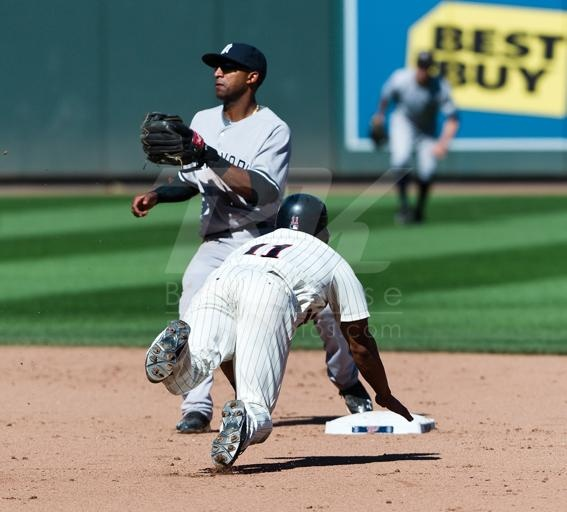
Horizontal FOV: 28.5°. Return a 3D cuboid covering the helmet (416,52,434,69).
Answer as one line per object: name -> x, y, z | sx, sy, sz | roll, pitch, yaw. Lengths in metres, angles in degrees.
helmet -> 1.122, -1.536, 8.667 | 0.107, 0.134, 0.142 | 0, 20, 10

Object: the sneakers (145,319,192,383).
sneakers -> -0.508, 0.421, 4.934 | 0.162, 0.285, 0.097 | 36, 8, 29

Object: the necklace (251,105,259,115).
necklace -> -0.145, -0.809, 6.148 | 0.014, 0.055, 0.055 | 32, -16, -16

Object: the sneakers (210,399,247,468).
sneakers -> -0.235, 0.793, 5.002 | 0.140, 0.300, 0.142 | 13, -3, 36

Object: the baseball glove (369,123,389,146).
baseball glove -> 0.780, -0.975, 8.930 | 0.121, 0.138, 0.141 | -5, 36, 7

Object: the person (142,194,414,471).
person -> -0.090, 0.405, 5.226 | 1.223, 1.026, 0.471 | -7, 10, -35

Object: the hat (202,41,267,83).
hat -> -0.256, -1.067, 6.130 | 0.312, 0.143, 0.208 | 11, 2, -15

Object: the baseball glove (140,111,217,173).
baseball glove -> -0.465, -0.567, 5.441 | 0.376, 0.215, 0.494 | 6, 7, -43

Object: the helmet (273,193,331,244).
helmet -> 0.132, -0.190, 5.496 | 0.209, 0.215, 0.258 | 12, 14, 27
